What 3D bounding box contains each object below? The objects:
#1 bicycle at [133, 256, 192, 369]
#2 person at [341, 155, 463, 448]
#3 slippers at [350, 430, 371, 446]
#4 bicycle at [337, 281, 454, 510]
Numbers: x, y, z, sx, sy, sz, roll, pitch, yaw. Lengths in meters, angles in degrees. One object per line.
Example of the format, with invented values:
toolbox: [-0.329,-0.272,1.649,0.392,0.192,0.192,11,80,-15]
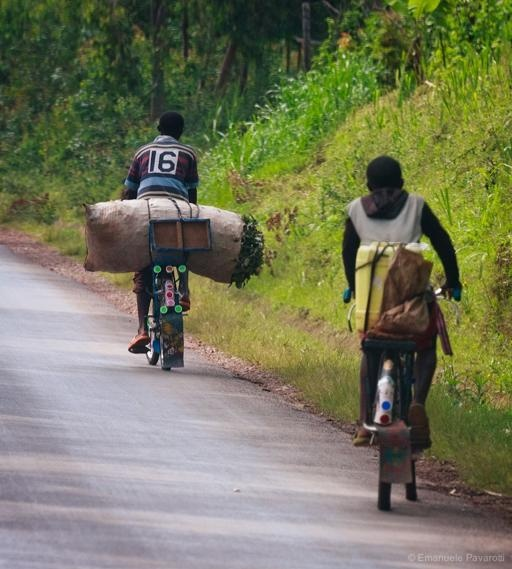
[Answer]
bicycle: [-0.827,0.271,13.464,0.378,1.113,0.715,2,8,-5]
person: [1.031,0.123,10.148,0.678,2.043,0.719,-1,-1,0]
slippers: [0.709,1.038,9.978,0.069,0.099,0.135,4,-23,-6]
bicycle: [0.938,0.779,9.967,0.508,1.449,0.601,5,8,15]
